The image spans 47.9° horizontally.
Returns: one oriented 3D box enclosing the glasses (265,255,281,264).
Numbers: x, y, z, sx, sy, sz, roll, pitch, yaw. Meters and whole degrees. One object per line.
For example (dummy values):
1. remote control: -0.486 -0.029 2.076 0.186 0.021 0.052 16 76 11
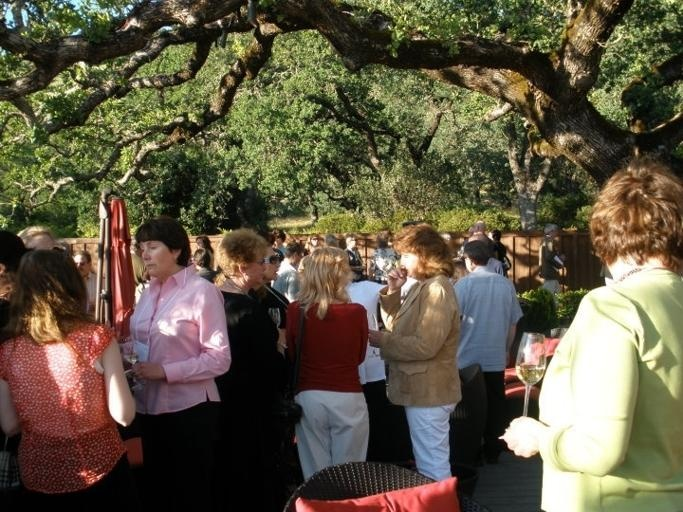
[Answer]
1. glasses: -0.636 0.021 7.057 0.116 0.059 0.223 -2 -4 -14
